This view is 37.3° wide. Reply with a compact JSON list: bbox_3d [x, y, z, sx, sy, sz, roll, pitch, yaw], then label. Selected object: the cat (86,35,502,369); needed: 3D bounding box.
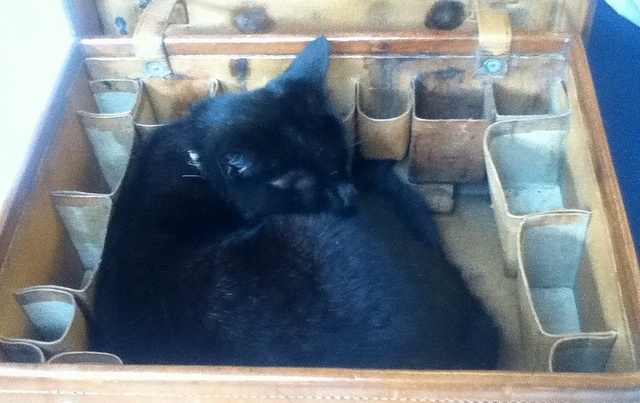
[{"bbox_3d":[-0.058,0.012,1.927,0.789,0.311,0.619,-2,50,3],"label":"cat"}]
